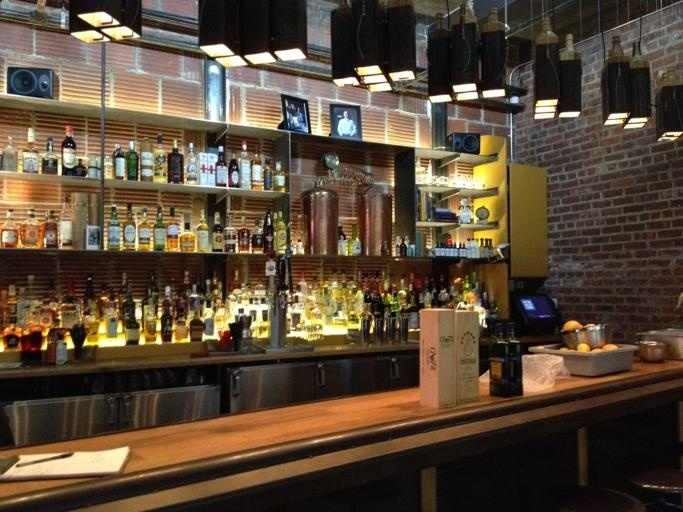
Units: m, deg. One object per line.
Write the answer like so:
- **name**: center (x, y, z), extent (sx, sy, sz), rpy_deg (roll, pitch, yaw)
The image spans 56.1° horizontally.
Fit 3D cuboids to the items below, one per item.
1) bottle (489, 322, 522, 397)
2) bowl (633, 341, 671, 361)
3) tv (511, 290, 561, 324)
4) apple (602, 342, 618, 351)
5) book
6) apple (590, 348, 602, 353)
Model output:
- **bottle**: center (0.818, 0.509, 3.163), extent (0.176, 0.364, 0.173), rpy_deg (1, 12, 0)
- **bowl**: center (1.915, 0.594, 3.981), extent (0.137, 0.091, 0.146), rpy_deg (0, -9, 0)
- **tv**: center (1.901, 0.515, 6.272), extent (0.483, 0.260, 0.348), rpy_deg (-4, 13, -23)
- **apple**: center (1.529, 0.526, 3.645), extent (0.049, 0.035, 0.060), rpy_deg (-8, -1, 5)
- **book**: center (-1.040, 0.796, 2.447), extent (0.449, 0.051, 0.207), rpy_deg (2, 12, -1)
- **apple**: center (1.444, 0.539, 3.625), extent (0.036, 0.022, 0.029), rpy_deg (2, 20, 37)
